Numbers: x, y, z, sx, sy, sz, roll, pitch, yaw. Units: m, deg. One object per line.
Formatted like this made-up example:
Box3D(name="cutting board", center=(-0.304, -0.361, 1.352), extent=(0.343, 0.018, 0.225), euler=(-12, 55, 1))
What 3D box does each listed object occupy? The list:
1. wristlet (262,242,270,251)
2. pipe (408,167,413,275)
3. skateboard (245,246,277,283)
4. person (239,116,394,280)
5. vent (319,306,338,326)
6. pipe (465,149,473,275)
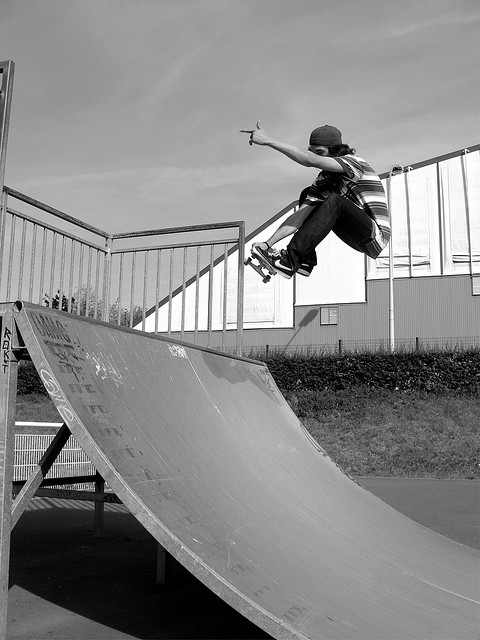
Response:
Box3D(name="wristlet", center=(0.231, -0.662, 5.852), extent=(0.061, 0.086, 0.082), euler=(-5, -6, -18))
Box3D(name="pipe", center=(6.533, -3.500, 25.160), extent=(0.121, 3.514, 0.146), euler=(-1, -9, 25))
Box3D(name="skateboard", center=(0.255, -0.553, 6.055), extent=(0.069, 0.260, 0.233), euler=(-38, -9, -26))
Box3D(name="person", center=(0.706, -1.145, 6.324), extent=(1.721, 1.509, 0.781), euler=(15, -3, -19))
Box3D(name="vent", center=(3.524, -0.161, 25.893), extent=(0.727, 0.732, 0.072), euler=(1, -8, 21))
Box3D(name="pipe", center=(8.513, -4.056, 24.457), extent=(0.348, 4.671, 0.176), euler=(10, -11, -43))
